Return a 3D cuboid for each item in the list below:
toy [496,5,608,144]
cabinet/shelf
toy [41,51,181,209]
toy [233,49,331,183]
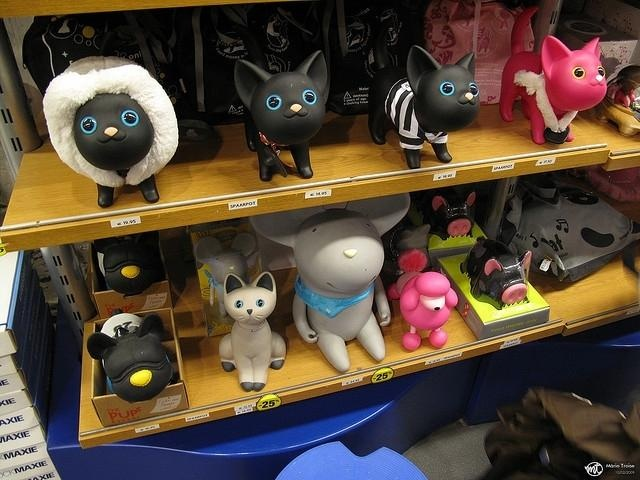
[{"bbox_3d":[0.730,-0.505,1.499,0.335,0.387,0.203,23,42,34],"label":"toy"},{"bbox_3d":[0.039,-0.036,2.781,3.182,1.120,1.762,-21,4,-5],"label":"cabinet/shelf"},{"bbox_3d":[-0.504,-0.320,1.306,0.285,0.365,0.367,-9,28,-16],"label":"toy"},{"bbox_3d":[-0.151,-0.373,1.320,0.195,0.279,0.404,-7,42,-11],"label":"toy"}]
